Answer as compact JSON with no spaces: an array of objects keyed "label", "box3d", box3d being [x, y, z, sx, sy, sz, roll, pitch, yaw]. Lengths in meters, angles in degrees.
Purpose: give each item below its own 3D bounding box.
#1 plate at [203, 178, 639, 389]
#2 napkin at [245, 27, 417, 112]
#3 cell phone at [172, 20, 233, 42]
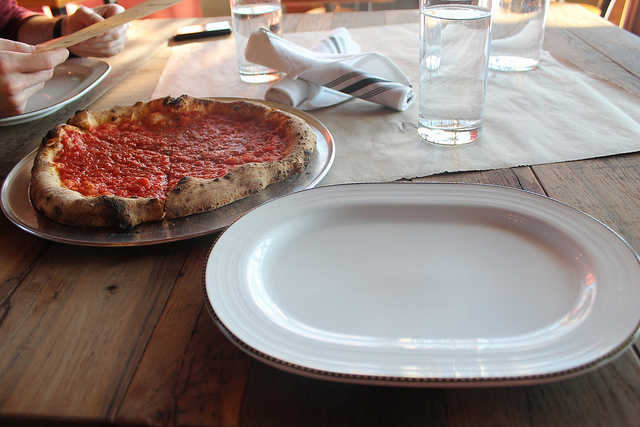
[{"label":"plate","box3d":[0.146,0.127,0.841,0.603,0.079,0.392,1,41,5]},{"label":"napkin","box3d":[0.048,-0.441,1.511,0.363,0.119,0.361,-1,28,-12]},{"label":"cell phone","box3d":[-0.512,-0.802,2.170,0.240,0.042,0.122,-6,30,-8]}]
